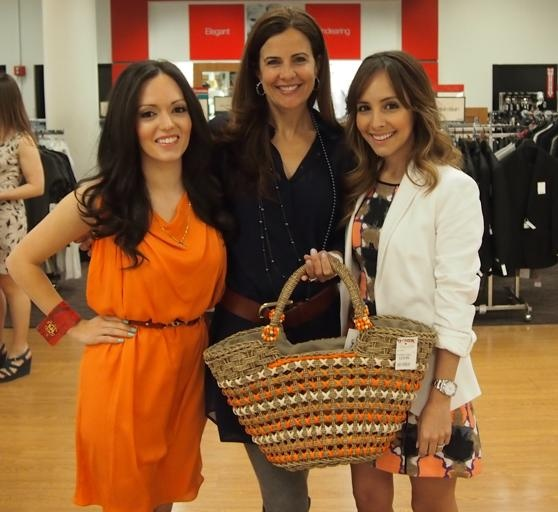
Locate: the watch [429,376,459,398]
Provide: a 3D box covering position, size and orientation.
[{"bbox_3d":[0.479,0.367,1.757,0.065,0.043,0.064,30,-20,-33],"label":"watch"}]

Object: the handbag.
[{"bbox_3d":[0.133,0.302,1.767,0.591,0.581,0.245,-4,-9,-3],"label":"handbag"}]

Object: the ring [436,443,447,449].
[{"bbox_3d":[0.488,0.564,1.810,0.031,0.010,0.032,-9,-6,-1],"label":"ring"}]

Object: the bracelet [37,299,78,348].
[{"bbox_3d":[-0.708,0.224,1.965,0.112,0.145,0.045,46,8,14],"label":"bracelet"}]
